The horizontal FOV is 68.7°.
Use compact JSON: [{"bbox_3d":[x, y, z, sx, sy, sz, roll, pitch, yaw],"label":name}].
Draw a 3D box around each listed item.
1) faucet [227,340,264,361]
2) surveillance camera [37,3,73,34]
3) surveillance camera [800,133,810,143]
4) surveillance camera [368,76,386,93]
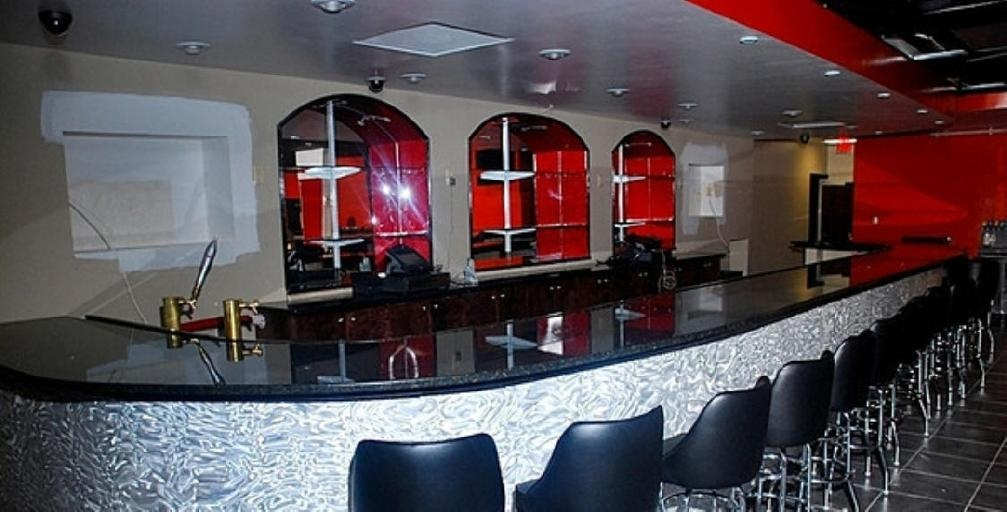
[{"bbox_3d":[-2.138,0.777,6.050,0.291,0.173,0.154,0,3,-26],"label":"faucet"},{"bbox_3d":[-3.875,-2.049,6.343,0.239,0.161,0.263,-2,-2,-23],"label":"surveillance camera"},{"bbox_3d":[5.206,-2.007,12.659,0.233,0.097,0.278,-1,-4,5],"label":"surveillance camera"},{"bbox_3d":[-1.374,-1.856,7.968,0.160,0.098,0.143,-1,3,0],"label":"surveillance camera"}]
